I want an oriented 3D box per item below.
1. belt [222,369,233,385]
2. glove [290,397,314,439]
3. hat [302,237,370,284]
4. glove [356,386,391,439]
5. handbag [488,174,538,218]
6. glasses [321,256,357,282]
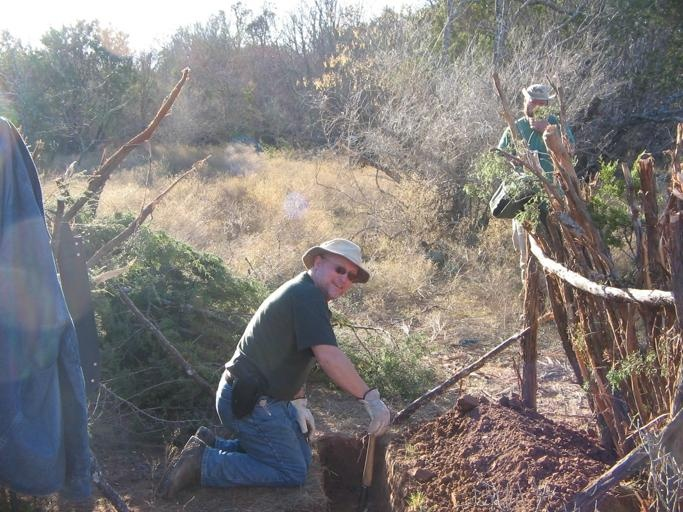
[{"bbox_3d":[-0.981,1.030,6.732,0.086,0.099,0.122,-2,4,-3],"label":"belt"},{"bbox_3d":[-0.328,1.412,6.934,0.080,0.338,0.225,-13,-4,3],"label":"glove"},{"bbox_3d":[-0.063,-0.035,6.601,0.423,0.179,0.413,11,-34,45],"label":"hat"},{"bbox_3d":[0.288,1.276,6.468,0.230,0.392,0.155,-12,-7,-3],"label":"glove"},{"bbox_3d":[1.478,-0.507,6.655,0.192,0.200,0.344,-31,-2,-34],"label":"handbag"},{"bbox_3d":[0.002,0.100,6.541,0.319,0.224,0.154,-1,-3,-25],"label":"glasses"}]
